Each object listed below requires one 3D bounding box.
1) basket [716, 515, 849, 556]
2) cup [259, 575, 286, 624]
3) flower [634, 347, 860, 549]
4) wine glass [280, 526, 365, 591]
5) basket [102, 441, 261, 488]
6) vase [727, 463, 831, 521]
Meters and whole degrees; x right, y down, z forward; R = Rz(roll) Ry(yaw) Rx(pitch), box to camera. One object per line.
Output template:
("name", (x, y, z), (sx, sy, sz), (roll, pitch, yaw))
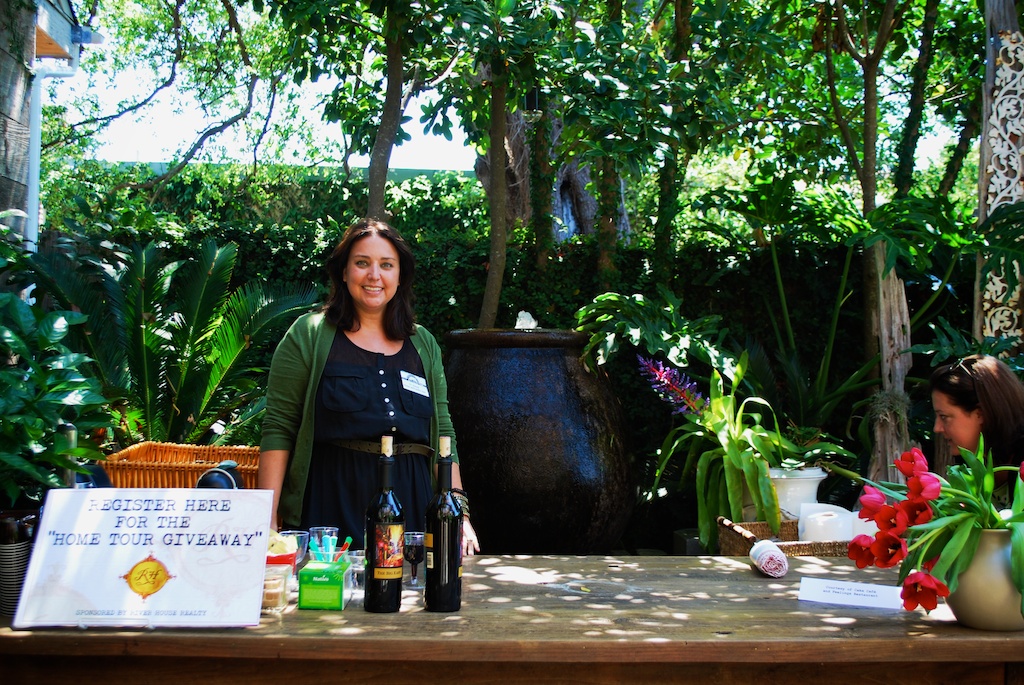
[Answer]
("basket", (1.025, 0.759, 3.143), (0.293, 0.073, 0.291), (1, -1, -5))
("cup", (-0.626, 0.639, 2.157), (0.079, 0.117, 0.074), (-1, -3, 0))
("flower", (1.342, 0.588, 4.239), (0.980, 0.886, 0.836), (-1, -2, 32))
("wine glass", (-0.532, 0.586, 2.313), (0.196, 0.139, 0.166), (0, 2, -13))
("basket", (-1.801, 0.667, 4.605), (0.764, 0.232, 0.693), (2, -6, -10))
("vase", (1.351, 0.685, 4.118), (0.357, 0.252, 0.343), (1, -1, -28))
